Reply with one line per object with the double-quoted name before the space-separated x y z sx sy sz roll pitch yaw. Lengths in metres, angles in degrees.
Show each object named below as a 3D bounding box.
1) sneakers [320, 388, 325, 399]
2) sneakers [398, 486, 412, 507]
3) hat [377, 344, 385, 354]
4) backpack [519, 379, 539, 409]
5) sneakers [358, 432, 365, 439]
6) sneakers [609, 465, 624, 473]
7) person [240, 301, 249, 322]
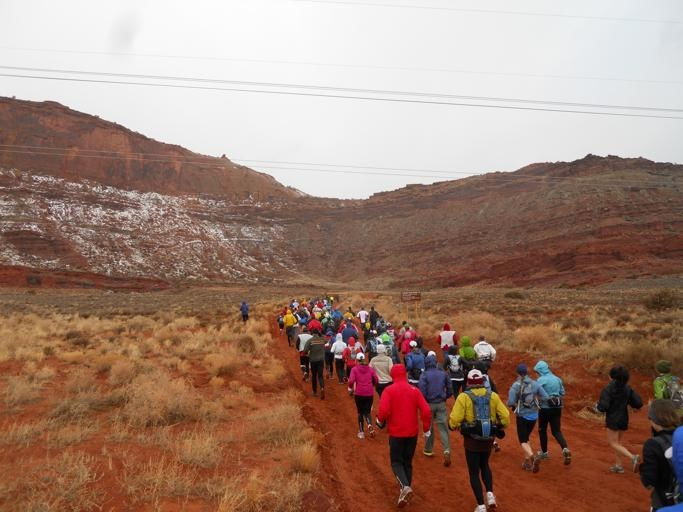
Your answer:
"sneakers" -0.644 4.820 17.172 0.135 0.332 0.145 -2 3 2
"sneakers" 1.394 5.417 11.100 0.230 0.524 0.218 6 35 -19
"hat" 1.114 2.538 13.462 0.253 0.230 0.197 -7 14 -37
"backpack" 4.657 3.444 12.245 0.730 0.682 0.395 -1 -7 5
"sneakers" 0.594 5.185 14.183 0.098 0.150 0.224 3 1 -17
"sneakers" 6.979 5.402 12.465 0.343 0.155 0.159 7 0 23
"person" -6.150 3.536 31.534 0.443 1.473 2.154 5 8 -13
